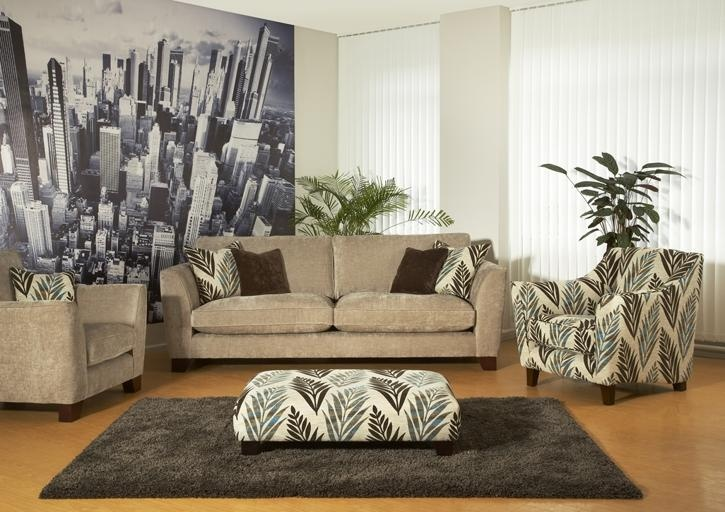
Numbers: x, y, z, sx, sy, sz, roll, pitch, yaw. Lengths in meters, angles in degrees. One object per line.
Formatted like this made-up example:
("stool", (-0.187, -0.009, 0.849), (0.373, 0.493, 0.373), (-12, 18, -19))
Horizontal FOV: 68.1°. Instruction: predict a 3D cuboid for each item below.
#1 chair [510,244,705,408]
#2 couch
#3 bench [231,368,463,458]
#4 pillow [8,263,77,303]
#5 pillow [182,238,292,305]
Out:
("chair", (1.919, 0.465, 4.123), (1.177, 0.960, 1.029), (-5, 4, -17))
("couch", (-0.259, 0.424, 4.782), (2.852, 1.116, 0.743), (0, 5, 2))
("bench", (-0.089, 0.824, 2.976), (1.015, 0.262, 0.520), (1, 1, 1))
("pillow", (-2.383, 0.196, 4.020), (0.391, 0.340, 0.118), (-7, 13, -30))
("pillow", (-1.131, 0.148, 4.757), (0.823, 0.545, 0.238), (-7, -22, -23))
